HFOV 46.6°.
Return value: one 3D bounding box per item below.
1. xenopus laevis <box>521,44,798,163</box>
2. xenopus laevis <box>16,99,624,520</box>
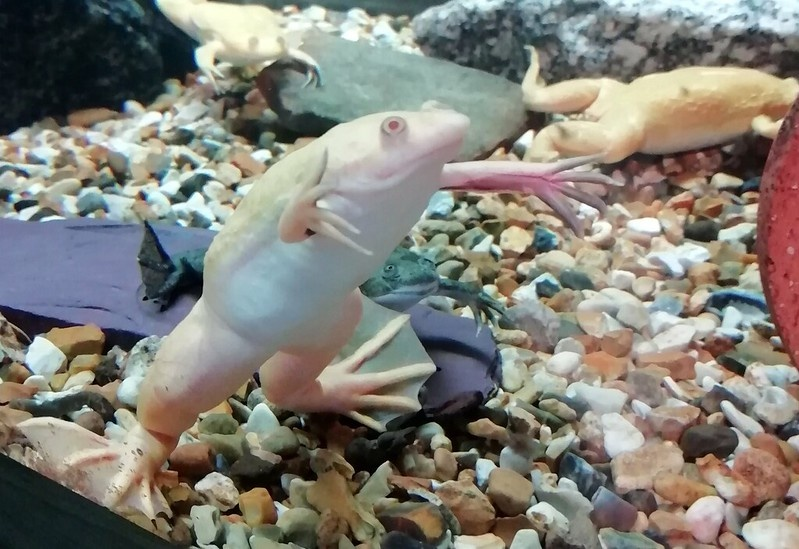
[{"bbox_3d":[0.740,-0.468,2.588,0.564,0.174,0.461,-3,31,-7],"label":"xenopus laevis"},{"bbox_3d":[-0.215,0.010,1.966,0.315,0.909,0.986,55,33,0],"label":"xenopus laevis"}]
